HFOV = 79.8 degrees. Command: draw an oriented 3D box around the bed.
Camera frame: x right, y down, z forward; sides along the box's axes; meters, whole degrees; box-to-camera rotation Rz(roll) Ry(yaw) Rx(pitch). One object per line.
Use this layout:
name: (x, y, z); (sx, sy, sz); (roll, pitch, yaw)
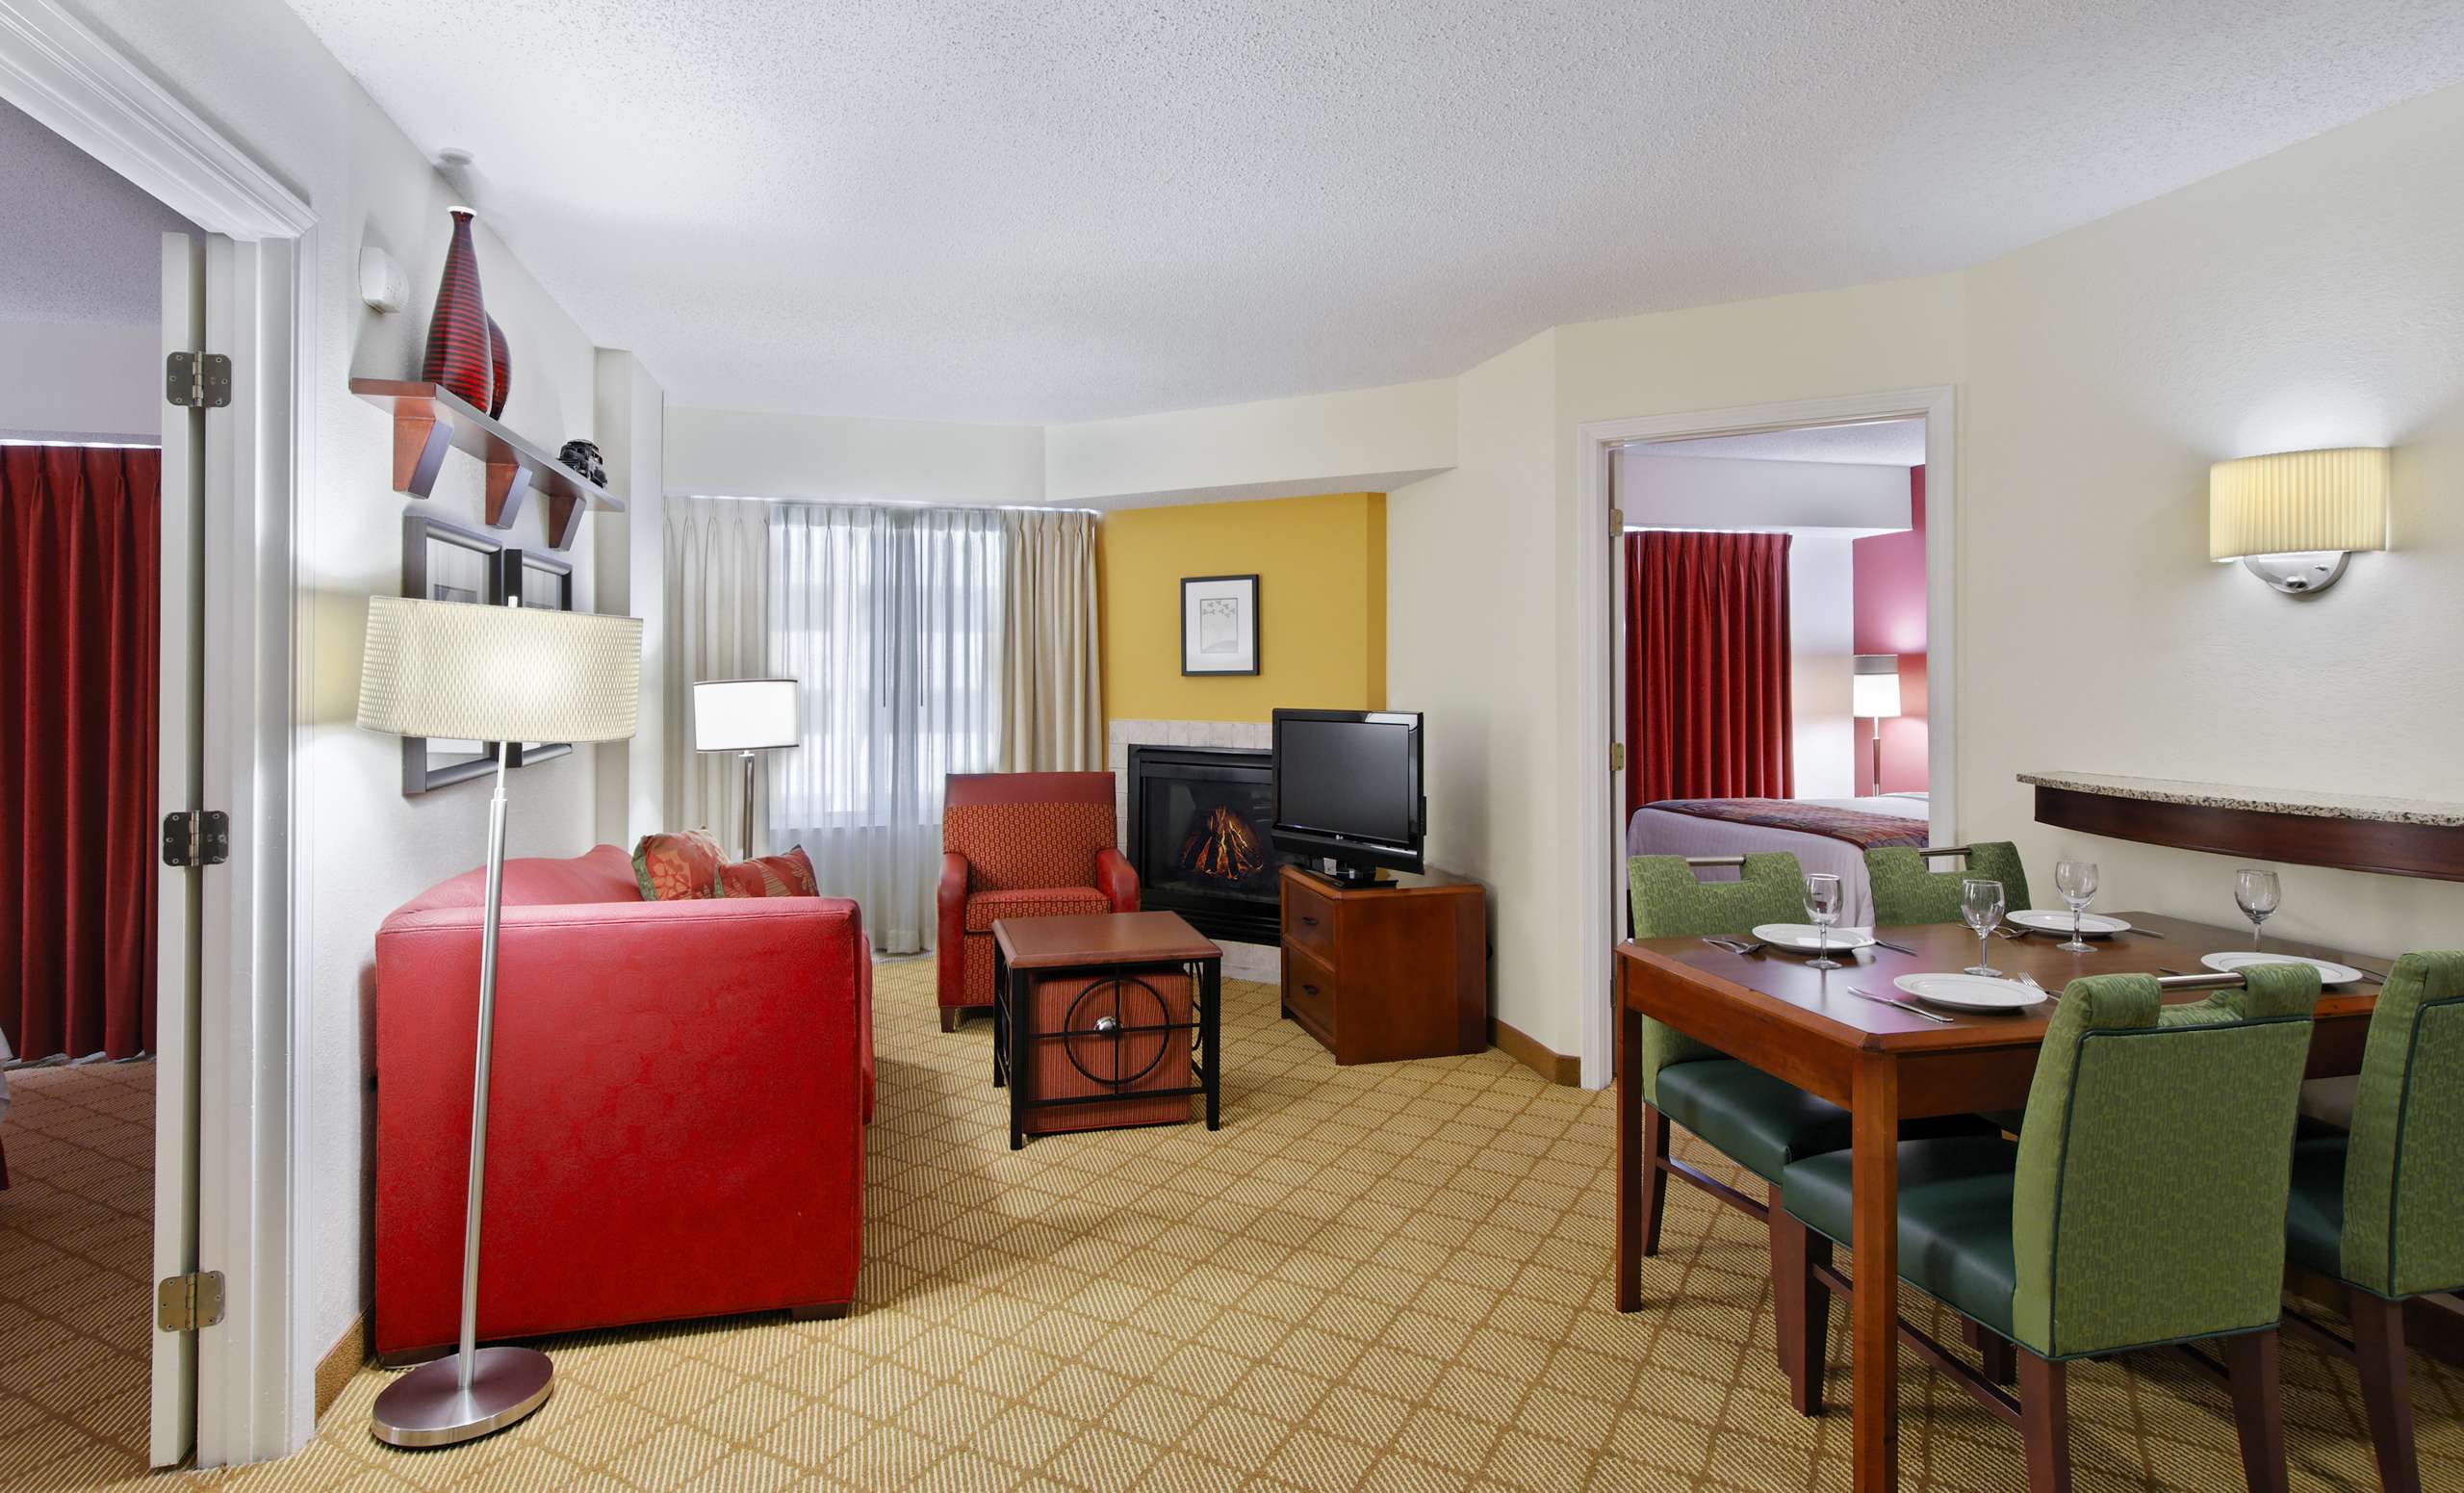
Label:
bed: (2.814, 0.449, 7.735); (1.146, 0.244, 1.089); (-1, 3, -28)

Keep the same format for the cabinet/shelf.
cabinet/shelf: (0.721, 1.040, 7.211); (0.768, 0.745, 0.951); (-1, 2, -14)

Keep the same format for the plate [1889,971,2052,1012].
plate: (2.085, 0.698, 4.168); (0.391, 0.073, 0.219); (-1, 1, 15)

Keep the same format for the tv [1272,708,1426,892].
tv: (0.597, 0.263, 7.131); (0.328, 0.843, 1.180); (-2, 3, -32)

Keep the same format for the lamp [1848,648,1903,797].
lamp: (4.372, -0.163, 9.988); (0.325, 0.965, 0.387); (-1, 2, 22)

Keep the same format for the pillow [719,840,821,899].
pillow: (-1.789, 0.513, 5.726); (0.299, 0.090, 0.307); (-2, 11, -23)

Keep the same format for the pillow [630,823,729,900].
pillow: (-2.011, 0.451, 5.473); (0.148, 0.224, 0.419); (-9, -1, 7)

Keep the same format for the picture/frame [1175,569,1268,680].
picture/frame: (-0.033, -0.673, 7.970); (0.651, 0.709, 0.058); (-1, -3, 30)

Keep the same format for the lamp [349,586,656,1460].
lamp: (-2.192, 0.777, 4.381); (0.854, 2.256, 0.757); (4, -9, -28)

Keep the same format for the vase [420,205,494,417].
vase: (-2.485, -1.427, 4.715); (0.190, 0.733, 0.432); (-3, 2, -26)

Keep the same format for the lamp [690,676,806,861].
lamp: (-2.551, 0.115, 7.779); (0.477, 0.943, 0.450); (-2, 2, -19)

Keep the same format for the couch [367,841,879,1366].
couch: (-2.634, 1.413, 5.662); (1.541, 1.269, 2.872); (4, -14, -32)

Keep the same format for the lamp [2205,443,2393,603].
lamp: (3.485, -0.717, 4.815); (0.470, 0.487, 0.231); (0, 2, 38)

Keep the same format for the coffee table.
coffee table: (-0.529, 1.152, 6.081); (0.887, 0.699, 0.879); (0, -2, -18)
